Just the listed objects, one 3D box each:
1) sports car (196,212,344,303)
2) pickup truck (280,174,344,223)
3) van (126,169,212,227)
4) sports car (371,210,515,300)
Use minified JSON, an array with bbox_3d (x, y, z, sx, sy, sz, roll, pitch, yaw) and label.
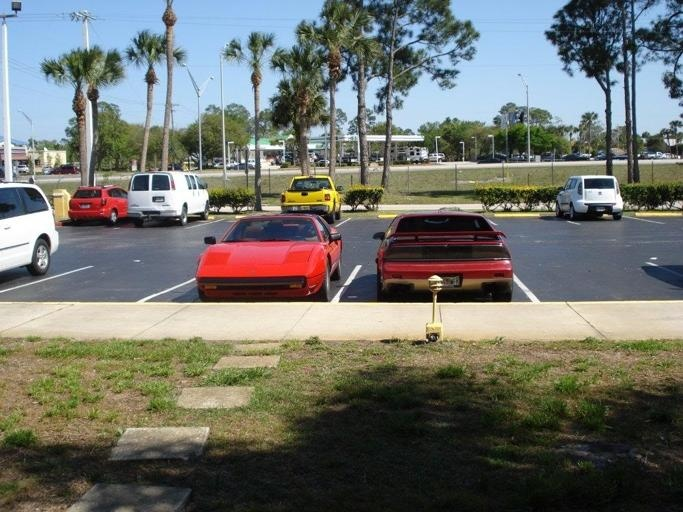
[{"bbox_3d":[-1.243,0.076,11.934,2.125,1.376,2.512,2,11,13],"label":"sports car"},{"bbox_3d":[-1.104,-2.348,26.859,1.596,1.601,4.247,0,3,5],"label":"pickup truck"},{"bbox_3d":[-6.993,-2.394,27.494,1.797,2.171,3.388,3,11,18],"label":"van"},{"bbox_3d":[1.730,-0.026,11.878,2.350,1.446,2.600,1,10,4],"label":"sports car"}]
